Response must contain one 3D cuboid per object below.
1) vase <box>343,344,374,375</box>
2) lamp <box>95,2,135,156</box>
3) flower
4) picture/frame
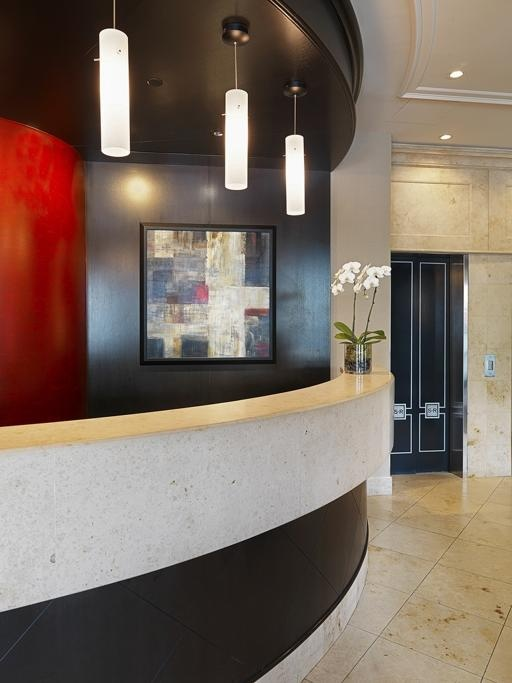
[{"bbox_3d":[0.587,0.100,3.121,0.169,0.176,0.169,1,1,24],"label":"vase"},{"bbox_3d":[-0.476,-0.820,1.789,0.096,0.386,0.187,0,1,-17],"label":"lamp"},{"bbox_3d":[0.792,-0.319,4.100,0.486,0.946,0.559,2,-4,-7],"label":"flower"},{"bbox_3d":[-0.435,-0.405,4.310,0.836,1.197,0.069,1,-1,-9],"label":"picture/frame"}]
